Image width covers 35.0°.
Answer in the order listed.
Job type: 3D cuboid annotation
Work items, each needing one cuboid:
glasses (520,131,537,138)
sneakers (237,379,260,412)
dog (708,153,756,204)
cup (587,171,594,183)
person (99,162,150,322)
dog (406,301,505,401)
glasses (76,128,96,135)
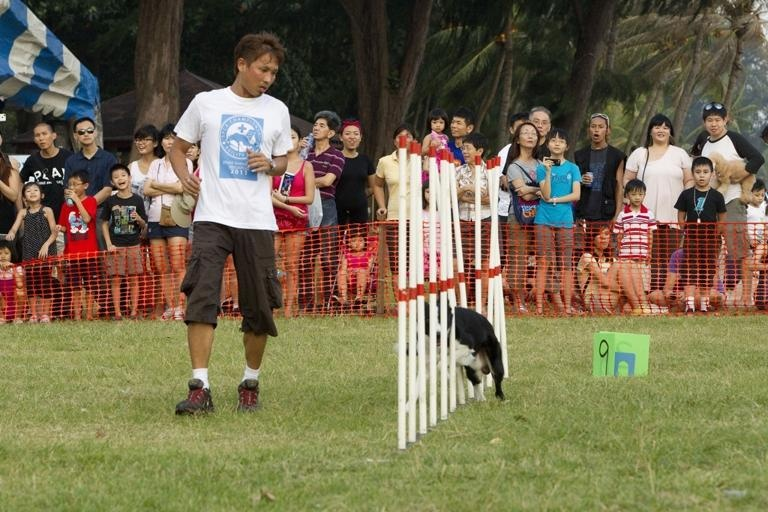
[{"bbox_3d":[2.060,-1.730,17.351,0.249,0.063,0.104,-2,2,-30],"label":"glasses"},{"bbox_3d":[-1.522,1.527,13.642,0.228,0.339,0.271,-1,2,-7],"label":"sneakers"},{"bbox_3d":[5.166,-1.144,18.050,0.374,0.632,0.860,-14,23,-43],"label":"dog"},{"bbox_3d":[3.039,-1.170,18.008,0.140,0.174,0.131,0,2,0],"label":"cup"},{"bbox_3d":[-3.817,-0.217,17.883,0.624,2.238,0.317,-1,2,-12],"label":"person"},{"bbox_3d":[1.016,1.080,13.679,0.442,1.083,0.925,1,2,36],"label":"dog"},{"bbox_3d":[-4.413,-1.842,18.026,0.246,0.090,0.090,-2,3,-36],"label":"glasses"}]
